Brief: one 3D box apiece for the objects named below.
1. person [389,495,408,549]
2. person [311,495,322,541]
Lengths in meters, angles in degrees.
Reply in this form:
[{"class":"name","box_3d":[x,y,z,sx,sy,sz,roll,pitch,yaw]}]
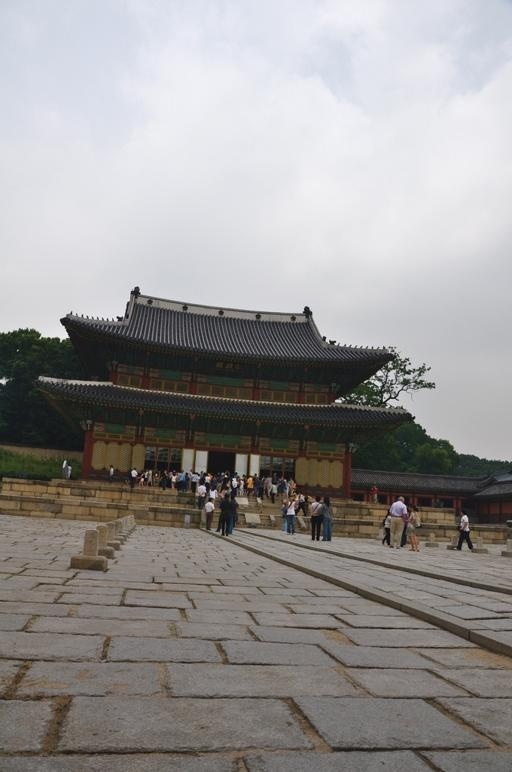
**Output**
[{"class":"person","box_3d":[3.515,3.430,14.917,0.436,1.243,0.407,4,-15,26]},{"class":"person","box_3d":[1.558,3.512,15.518,0.265,1.057,1.108,3,-9,7]}]
